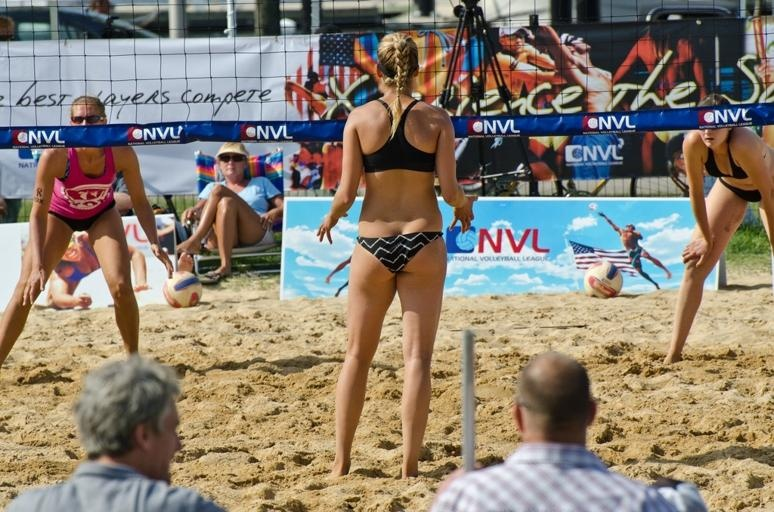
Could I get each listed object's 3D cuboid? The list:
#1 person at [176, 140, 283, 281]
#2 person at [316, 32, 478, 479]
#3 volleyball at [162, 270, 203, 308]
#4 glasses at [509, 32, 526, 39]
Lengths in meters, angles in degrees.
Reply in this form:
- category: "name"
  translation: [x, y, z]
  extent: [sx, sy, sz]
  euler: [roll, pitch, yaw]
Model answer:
- category: "person"
  translation: [-1.817, -0.502, 14.120]
  extent: [1.164, 1.540, 0.851]
  euler: [0, 10, -6]
- category: "person"
  translation: [0.057, 0.005, 9.150]
  extent: [0.977, 3.295, 0.657]
  euler: [1, 9, -2]
- category: "volleyball"
  translation: [-2.156, 0.359, 12.608]
  extent: [0.417, 0.442, 0.416]
  euler: [2, 17, -2]
- category: "glasses"
  translation: [1.591, -2.640, 14.523]
  extent: [0.069, 0.084, 0.135]
  euler: [15, 8, -31]
